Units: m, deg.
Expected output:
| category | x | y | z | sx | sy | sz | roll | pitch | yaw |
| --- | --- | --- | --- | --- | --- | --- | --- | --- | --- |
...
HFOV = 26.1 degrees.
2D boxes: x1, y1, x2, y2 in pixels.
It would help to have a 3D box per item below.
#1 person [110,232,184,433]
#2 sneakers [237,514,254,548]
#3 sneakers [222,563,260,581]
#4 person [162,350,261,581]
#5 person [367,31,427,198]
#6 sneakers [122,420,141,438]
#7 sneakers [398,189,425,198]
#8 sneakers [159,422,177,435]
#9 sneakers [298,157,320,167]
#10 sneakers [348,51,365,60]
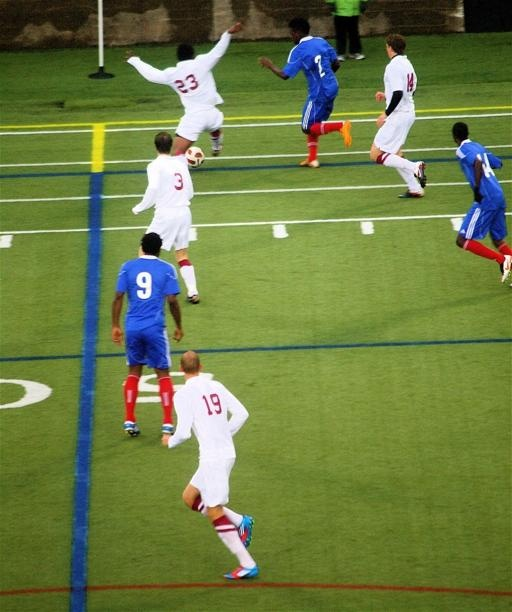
| category | x | y | z | sx | sy | sz | roll | pitch | yaw |
| --- | --- | --- | --- | --- | --- | --- | --- | --- | --- |
| person | -0.923 | 0.255 | 9.565 | 0.684 | 1.758 | 0.656 | 7 | 14 | 18 |
| sneakers | -0.072 | 1.627 | 7.986 | 0.136 | 0.251 | 0.099 | -1 | 27 | 7 |
| sneakers | -0.099 | 1.885 | 7.834 | 0.277 | 0.095 | 0.093 | -1 | 4 | 2 |
| person | -0.268 | 1.126 | 7.882 | 0.718 | 1.561 | 0.494 | 5 | 14 | 12 |
| person | 1.934 | -2.542 | 14.755 | 0.751 | 2.175 | 0.977 | 4 | 13 | 6 |
| sneakers | -1.071 | 1.049 | 9.542 | 0.085 | 0.096 | 0.216 | -3 | -30 | 5 |
| sneakers | 2.103 | -1.556 | 15.060 | 0.357 | 0.133 | 0.110 | 3 | 14 | 2 |
| sneakers | -0.754 | 1.036 | 9.427 | 0.067 | 0.072 | 0.167 | 1 | -2 | 10 |
| sneakers | 0.786 | -2.131 | 16.327 | 0.116 | 0.116 | 0.301 | -7 | 10 | -30 |
| sneakers | 2.030 | -5.115 | 22.417 | 0.311 | 0.127 | 0.117 | -2 | 36 | 4 |
